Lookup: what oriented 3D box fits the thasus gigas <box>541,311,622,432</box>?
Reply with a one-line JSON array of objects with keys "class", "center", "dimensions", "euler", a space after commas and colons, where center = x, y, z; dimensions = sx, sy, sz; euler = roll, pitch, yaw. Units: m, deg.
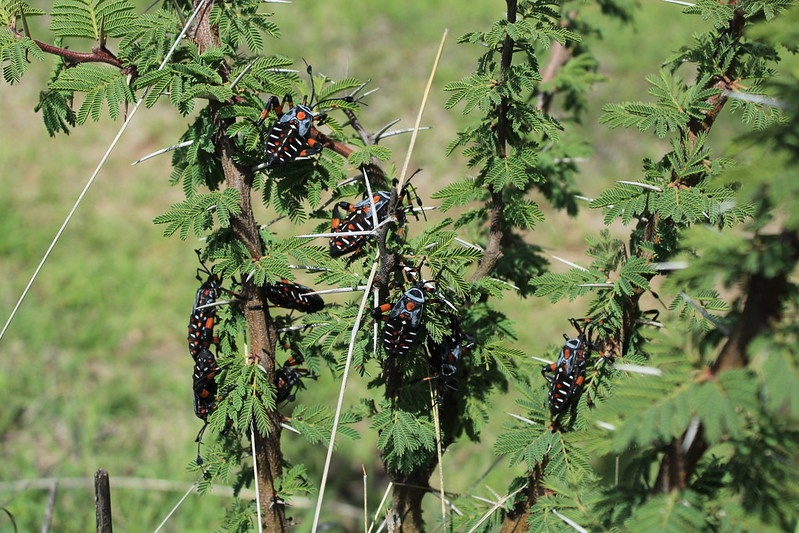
[{"class": "thasus gigas", "center": [1.882, 1.044, 11.458], "dimensions": [0.832, 1.022, 0.409], "euler": [-13, -27, 17]}]
